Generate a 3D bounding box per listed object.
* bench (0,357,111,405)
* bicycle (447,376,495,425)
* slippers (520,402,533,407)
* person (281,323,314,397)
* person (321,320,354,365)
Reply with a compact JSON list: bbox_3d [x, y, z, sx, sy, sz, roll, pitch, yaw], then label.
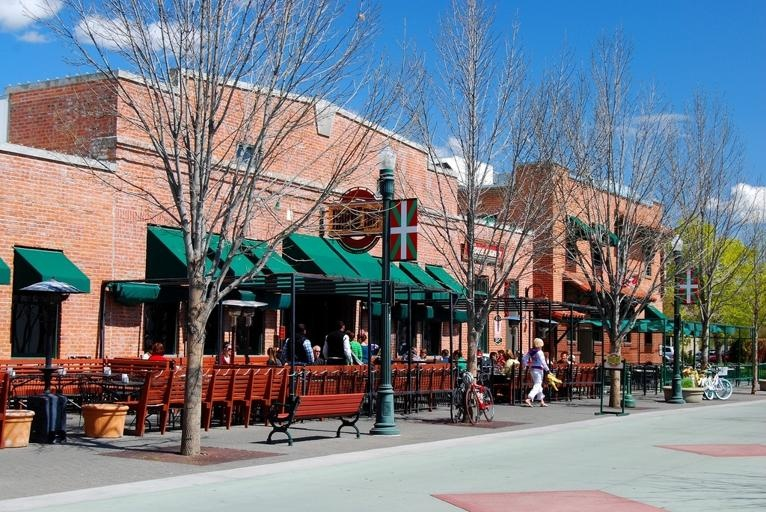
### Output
[{"bbox_3d":[-8.336,3.221,20.254,2.460,1.178,3.778,2,-3,-11],"label":"bench"},{"bbox_3d":[2.308,3.811,21.018,0.854,0.949,1.518,-7,-15,28],"label":"bicycle"},{"bbox_3d":[4.740,4.870,26.396,0.151,0.204,0.476,2,-11,-29],"label":"slippers"},{"bbox_3d":[-2.260,2.902,22.202,0.879,2.032,0.694,3,3,30],"label":"person"},{"bbox_3d":[-1.243,2.523,23.345,0.621,1.247,1.269,3,-3,-34],"label":"person"}]
